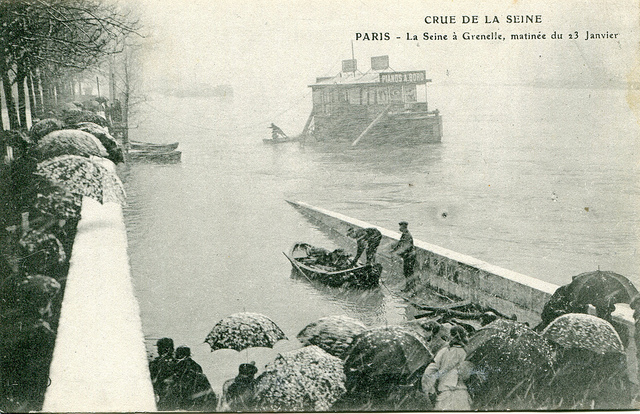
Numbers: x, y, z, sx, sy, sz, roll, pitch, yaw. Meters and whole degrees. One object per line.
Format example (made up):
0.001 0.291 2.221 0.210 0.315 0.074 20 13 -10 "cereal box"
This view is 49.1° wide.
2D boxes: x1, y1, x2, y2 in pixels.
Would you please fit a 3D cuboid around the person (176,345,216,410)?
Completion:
-2.302 3.085 12.593 0.408 1.299 0.432 -34 -7 -2 "person"

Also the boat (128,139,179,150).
-3.477 -1.282 14.286 1.345 0.224 0.345 5 12 34 "boat"

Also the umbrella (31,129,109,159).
-4.672 -1.169 12.988 1.283 0.530 0.421 -5 11 -21 "umbrella"

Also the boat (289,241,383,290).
0.302 1.191 13.575 1.611 0.464 0.950 12 12 24 "boat"

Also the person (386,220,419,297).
1.695 1.010 13.848 0.396 1.428 0.646 -10 13 -39 "person"

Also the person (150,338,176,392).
-2.798 2.826 12.465 0.456 0.866 0.273 -4 11 -12 "person"

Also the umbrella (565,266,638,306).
5.223 1.519 12.910 0.793 0.350 0.798 -20 16 -40 "umbrella"

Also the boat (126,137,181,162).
-3.513 -1.191 14.378 0.643 0.490 1.482 -10 13 -39 "boat"

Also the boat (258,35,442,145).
-0.139 -2.444 15.407 5.662 2.722 1.867 2 19 15 "boat"

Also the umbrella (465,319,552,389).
3.363 2.569 12.842 1.297 1.199 0.416 28 1 -3 "umbrella"

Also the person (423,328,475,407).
2.306 2.955 12.373 0.905 1.364 0.276 -5 11 -18 "person"

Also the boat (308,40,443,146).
1.236 -2.635 15.171 3.166 2.043 1.446 7 31 41 "boat"
